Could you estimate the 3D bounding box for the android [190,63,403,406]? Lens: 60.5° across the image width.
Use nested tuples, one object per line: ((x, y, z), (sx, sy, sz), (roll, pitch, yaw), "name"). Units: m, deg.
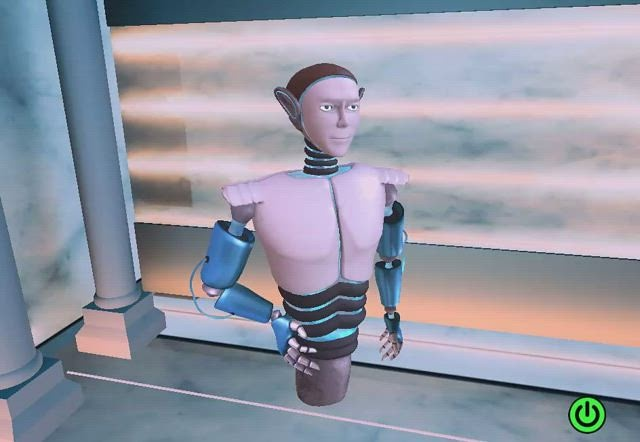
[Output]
((-0.045, 0.178, 3.137), (1.188, 2.042, 0.490), (-12, 26, -21), "android")
